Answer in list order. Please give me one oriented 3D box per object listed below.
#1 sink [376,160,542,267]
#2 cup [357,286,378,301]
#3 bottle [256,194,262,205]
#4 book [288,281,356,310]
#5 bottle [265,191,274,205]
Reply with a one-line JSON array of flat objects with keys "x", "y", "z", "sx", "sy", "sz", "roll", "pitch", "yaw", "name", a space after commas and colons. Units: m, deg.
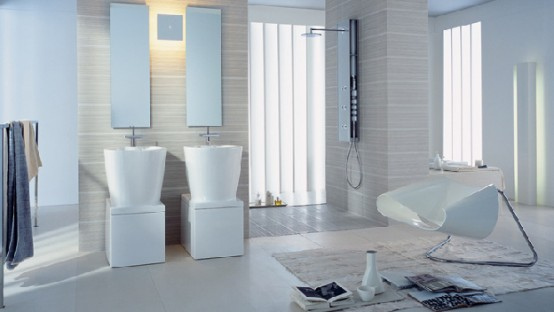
[{"x": 2.324, "y": 0.827, "z": 4.912, "sx": 1.452, "sy": 0.905, "sz": 1.411, "roll": 1, "pitch": 5, "yaw": -14, "name": "sink"}, {"x": 1.004, "y": 1.534, "z": 4.113, "sx": 0.177, "sy": 0.088, "sz": 0.162, "roll": 2, "pitch": -1, "yaw": 0, "name": "cup"}, {"x": -0.378, "y": 0.892, "z": 7.718, "sx": 0.114, "sy": 0.233, "sz": 0.302, "roll": -2, "pitch": 12, "yaw": -3, "name": "bottle"}, {"x": 0.521, "y": 1.563, "z": 4.111, "sx": 0.714, "sy": 0.166, "sz": 0.280, "roll": -3, "pitch": 12, "yaw": -10, "name": "book"}, {"x": -0.161, "y": 0.864, "z": 7.711, "sx": 0.185, "sy": 0.251, "sz": 0.288, "roll": -1, "pitch": 13, "yaw": -1, "name": "bottle"}]
